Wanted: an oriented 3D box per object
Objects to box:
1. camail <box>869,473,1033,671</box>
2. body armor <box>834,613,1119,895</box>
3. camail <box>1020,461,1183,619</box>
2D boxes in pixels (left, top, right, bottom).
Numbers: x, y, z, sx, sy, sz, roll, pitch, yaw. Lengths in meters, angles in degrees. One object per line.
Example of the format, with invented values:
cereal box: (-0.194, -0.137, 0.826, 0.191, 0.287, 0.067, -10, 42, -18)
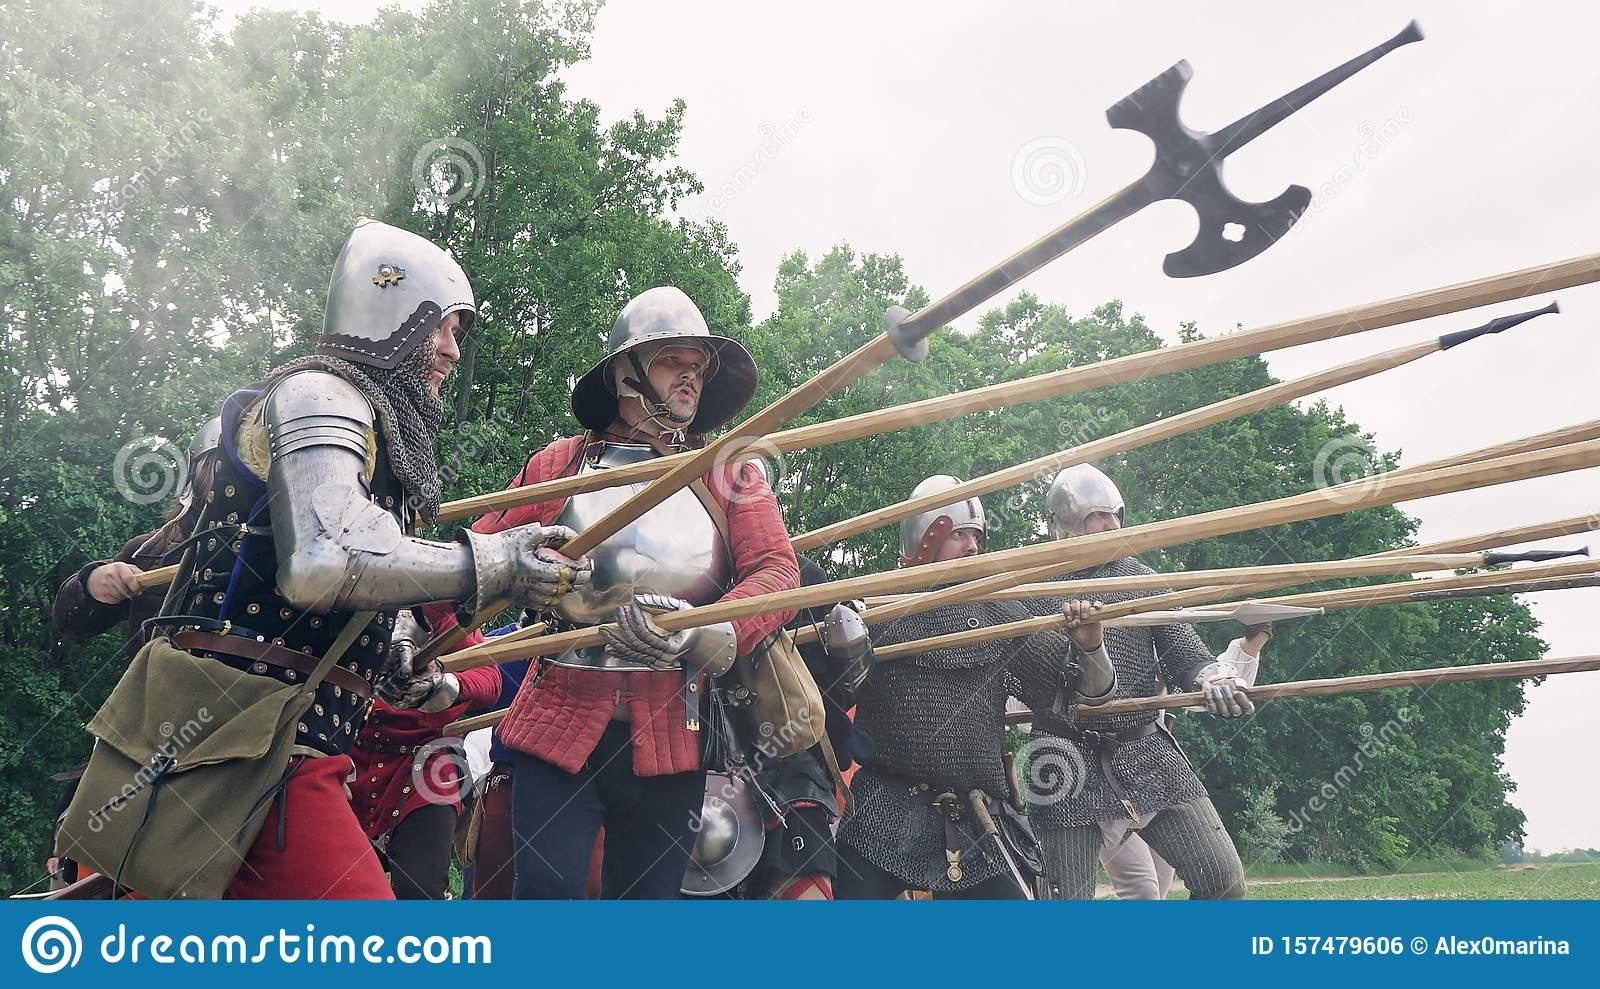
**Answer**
camail: (1.635, 0.910, 17.575, 1.294, 2.275, 1.600, 1, -1, -5)
body armor: (1.760, 2.684, 16.870, 2.377, 3.025, 1.379, 10, -32, -7)
camail: (3.292, 0.236, 18.104, 1.056, 2.057, 1.379, 14, 0, 17)
